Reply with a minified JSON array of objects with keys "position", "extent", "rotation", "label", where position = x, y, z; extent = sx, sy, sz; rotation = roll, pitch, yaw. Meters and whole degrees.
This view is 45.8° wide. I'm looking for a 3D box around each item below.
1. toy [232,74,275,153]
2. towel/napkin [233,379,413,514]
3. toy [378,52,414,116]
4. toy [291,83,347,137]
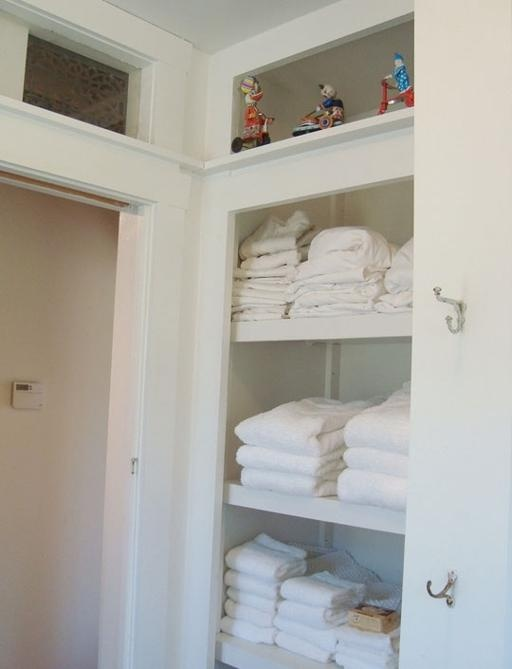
[{"position":[-0.017,-0.556,1.537],"extent":[0.120,0.131,0.064],"rotation":[1,-1,30],"label":"toy"},{"position":[0.197,0.239,1.350],"extent":[0.231,0.166,0.468],"rotation":[3,-1,-43],"label":"towel/napkin"},{"position":[0.291,-0.523,1.267],"extent":[0.066,0.140,0.134],"rotation":[2,-1,10],"label":"toy"},{"position":[0.147,-0.520,1.407],"extent":[0.128,0.106,0.061],"rotation":[-1,8,33],"label":"toy"}]
